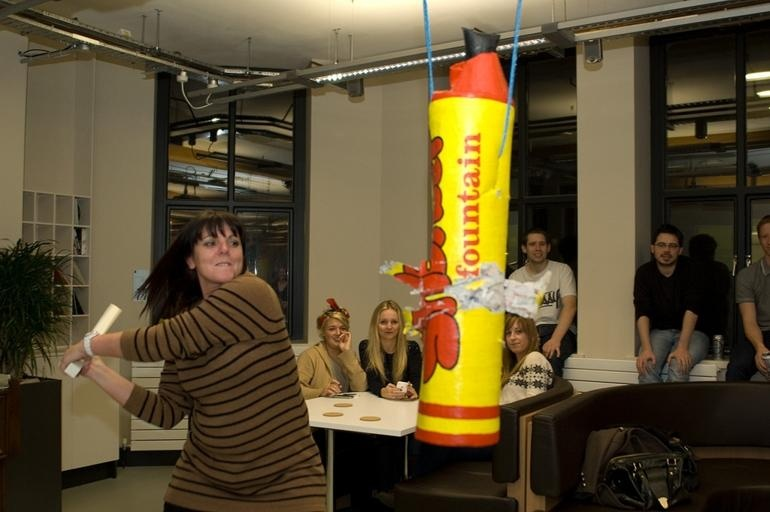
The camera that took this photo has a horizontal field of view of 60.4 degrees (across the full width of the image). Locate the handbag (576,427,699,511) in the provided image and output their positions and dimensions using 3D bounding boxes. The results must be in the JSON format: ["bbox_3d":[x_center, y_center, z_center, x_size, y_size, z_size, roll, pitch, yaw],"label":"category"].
[{"bbox_3d":[1.630,1.299,4.216,0.487,0.275,0.598,-8,-11,44],"label":"handbag"}]

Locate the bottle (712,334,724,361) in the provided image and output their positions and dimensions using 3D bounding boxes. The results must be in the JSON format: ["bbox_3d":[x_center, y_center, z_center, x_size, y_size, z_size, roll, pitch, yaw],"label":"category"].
[{"bbox_3d":[2.971,0.808,5.926,0.086,0.204,0.174,-1,3,22],"label":"bottle"}]

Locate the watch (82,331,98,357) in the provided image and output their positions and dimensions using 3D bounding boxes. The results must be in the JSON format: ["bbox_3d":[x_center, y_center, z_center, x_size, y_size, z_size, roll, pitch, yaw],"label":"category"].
[{"bbox_3d":[-1.194,0.351,2.664,0.045,0.093,0.068,2,-26,-2],"label":"watch"}]

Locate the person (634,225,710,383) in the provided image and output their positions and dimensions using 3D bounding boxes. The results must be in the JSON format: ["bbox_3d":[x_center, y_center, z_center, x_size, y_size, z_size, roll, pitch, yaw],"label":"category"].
[{"bbox_3d":[2.542,0.405,5.842,0.695,1.356,0.711,-1,2,5],"label":"person"}]
